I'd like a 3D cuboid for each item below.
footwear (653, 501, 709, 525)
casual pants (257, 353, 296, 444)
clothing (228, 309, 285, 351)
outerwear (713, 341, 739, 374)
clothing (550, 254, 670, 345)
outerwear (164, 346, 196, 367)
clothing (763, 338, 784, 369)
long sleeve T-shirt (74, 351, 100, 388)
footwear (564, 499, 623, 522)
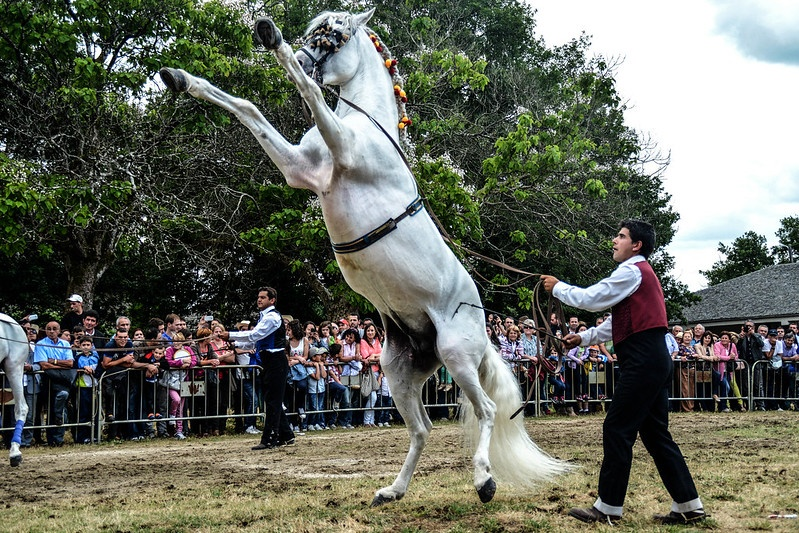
[{"bbox_3d":[3.583,3.155,10.904,0.713,0.310,0.233,0,-9,14],"label":"footwear"},{"bbox_3d":[-2.299,2.394,15.614,0.621,1.717,0.632,-3,-19,-4],"label":"casual pants"},{"bbox_3d":[-2.580,1.137,15.306,0.935,0.665,0.726,-3,-13,-5],"label":"clothing"},{"bbox_3d":[8.180,2.277,21.366,0.517,0.835,1.160,-9,-13,23],"label":"outerwear"},{"bbox_3d":[2.777,0.476,11.440,1.630,1.170,1.186,-3,-15,-5],"label":"clothing"},{"bbox_3d":[-4.451,1.815,17.159,0.461,0.454,0.112,-26,-10,-26],"label":"outerwear"},{"bbox_3d":[9.571,2.227,21.700,0.546,0.705,0.278,0,-9,-9],"label":"clothing"},{"bbox_3d":[-6.051,2.016,16.652,0.592,0.837,0.360,2,-9,-1],"label":"long sleeve T-shirt"},{"bbox_3d":[2.477,3.131,10.874,0.672,0.273,0.245,9,-14,7],"label":"footwear"}]
